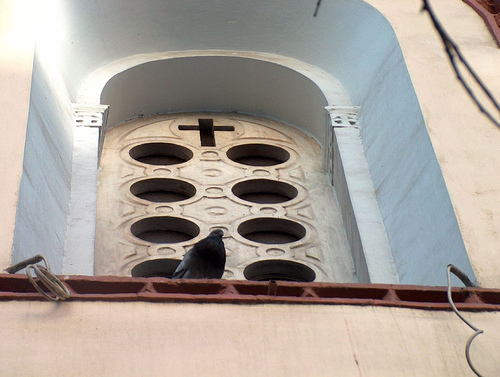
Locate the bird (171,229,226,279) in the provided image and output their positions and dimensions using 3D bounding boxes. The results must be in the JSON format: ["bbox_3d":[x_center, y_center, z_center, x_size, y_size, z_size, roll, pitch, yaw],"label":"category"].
[{"bbox_3d":[-0.426,0.679,8.281,0.594,0.474,0.308,-14,-43,13],"label":"bird"}]
